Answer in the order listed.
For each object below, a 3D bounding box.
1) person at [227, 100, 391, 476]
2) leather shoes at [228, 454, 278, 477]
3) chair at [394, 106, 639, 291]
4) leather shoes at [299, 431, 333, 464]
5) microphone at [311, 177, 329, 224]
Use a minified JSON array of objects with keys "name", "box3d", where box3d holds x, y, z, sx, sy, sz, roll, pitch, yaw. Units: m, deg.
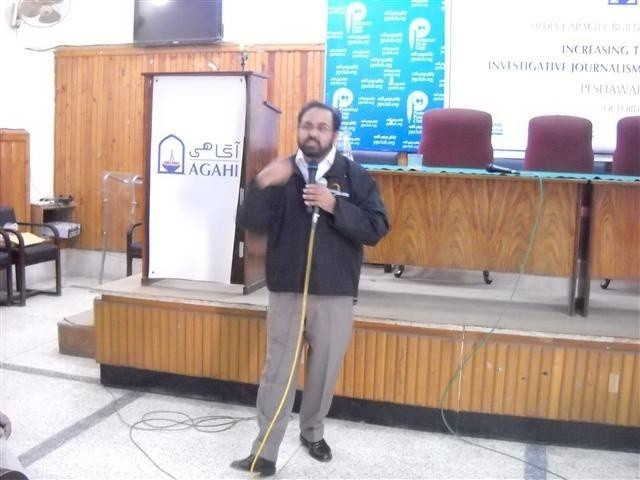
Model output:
[{"name":"person","box3d":[-0.064,0.266,3.424,0.844,2.024,0.479,-2,13,-12]},{"name":"leather shoes","box3d":[-0.361,1.236,3.421,0.240,0.105,0.098,14,-10,-3]},{"name":"chair","box3d":[1.369,-0.254,4.194,1.359,0.958,0.560,1,2,15]},{"name":"leather shoes","box3d":[-0.026,1.209,3.627,0.088,0.102,0.223,-5,19,-42]},{"name":"microphone","box3d":[0.003,-0.210,3.251,0.082,0.243,0.071,5,7,-4]}]
